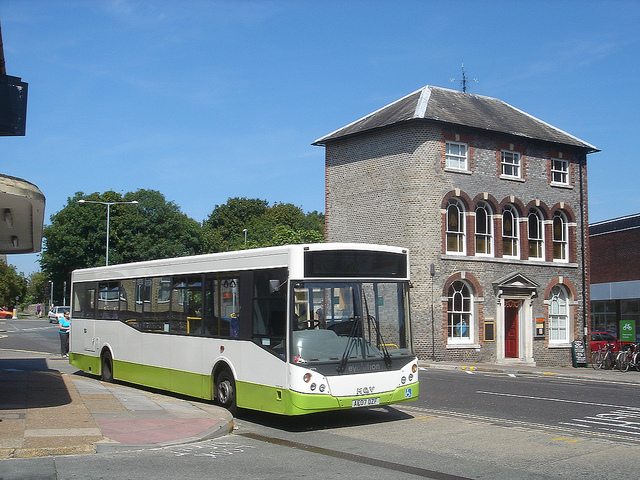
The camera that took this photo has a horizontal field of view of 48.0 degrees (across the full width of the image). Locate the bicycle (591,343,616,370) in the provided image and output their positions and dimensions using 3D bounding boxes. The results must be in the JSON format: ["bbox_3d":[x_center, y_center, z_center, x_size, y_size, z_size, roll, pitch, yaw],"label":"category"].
[{"bbox_3d":[12.723,5.218,32.217,0.693,1.125,1.807,3,-4,3],"label":"bicycle"}]

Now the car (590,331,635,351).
[{"bbox_3d":[15.294,5.344,38.912,2.505,0.806,1.204,-2,-1,-27],"label":"car"}]

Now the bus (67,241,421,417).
[{"bbox_3d":[-2.950,2.180,18.884,3.466,3.339,12.573,1,-4,-37],"label":"bus"}]
